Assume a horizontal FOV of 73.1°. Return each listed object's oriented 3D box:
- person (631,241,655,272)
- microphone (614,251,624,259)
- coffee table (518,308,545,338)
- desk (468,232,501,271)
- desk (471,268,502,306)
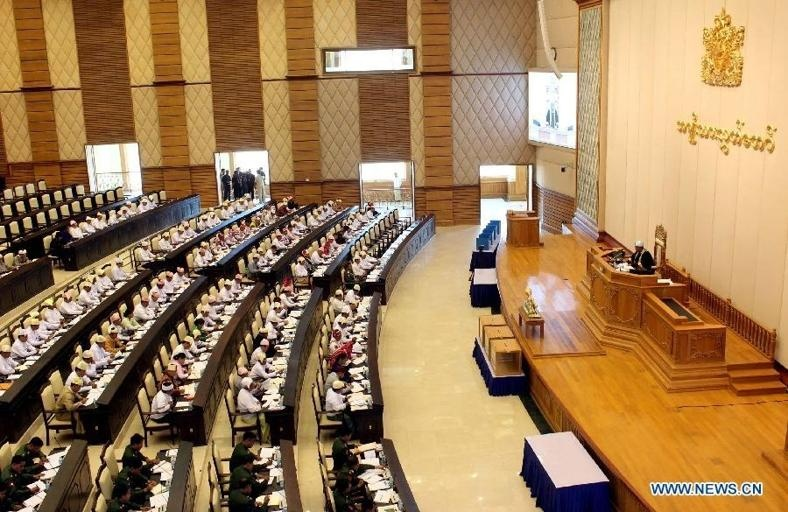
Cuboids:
[{"bbox_3d":[5.908,0.057,12.769,0.525,0.747,0.547,-9,8,-22],"label":"person"},{"bbox_3d":[5.844,-0.050,13.788,0.255,0.162,0.250,-7,5,-25],"label":"microphone"},{"bbox_3d":[3.499,1.508,13.531,0.528,0.494,1.012,-1,15,3],"label":"coffee table"},{"bbox_3d":[3.470,-0.039,20.519,0.984,0.949,1.011,1,8,4],"label":"desk"},{"bbox_3d":[3.060,1.164,17.986,0.988,1.134,1.217,-1,18,2],"label":"desk"}]
